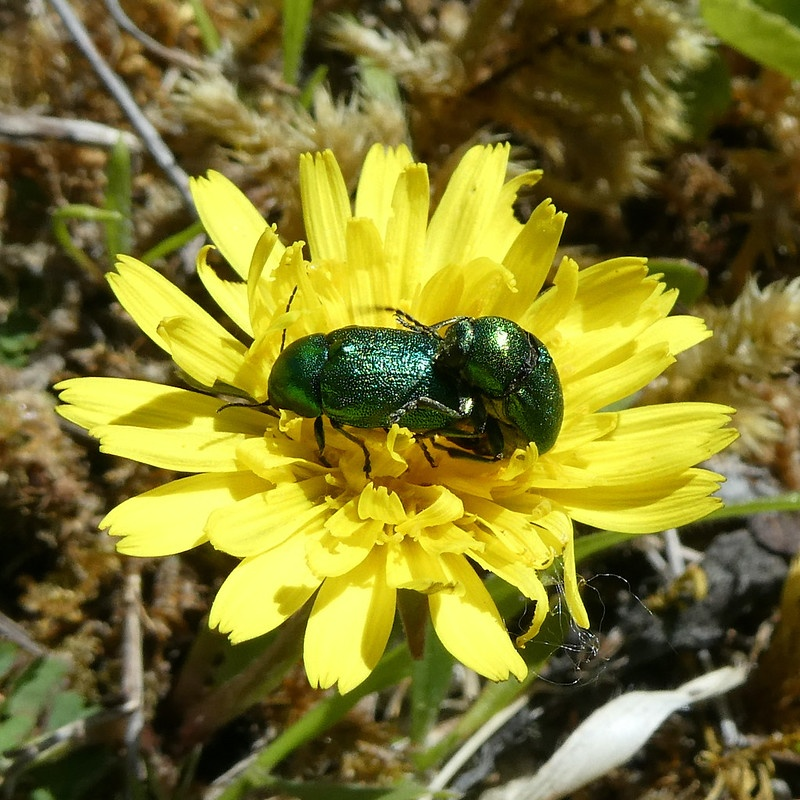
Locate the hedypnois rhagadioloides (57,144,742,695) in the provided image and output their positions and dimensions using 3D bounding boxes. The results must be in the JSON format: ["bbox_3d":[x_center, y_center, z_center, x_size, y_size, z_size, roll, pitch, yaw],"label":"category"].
[{"bbox_3d":[0.038,0.109,3.057,1.811,2.218,1.699,-1,101,-5],"label":"hedypnois rhagadioloides"}]

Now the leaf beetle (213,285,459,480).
[{"bbox_3d":[-0.130,-0.060,2.668,0.706,0.200,0.466,4,46,0],"label":"leaf beetle"}]
